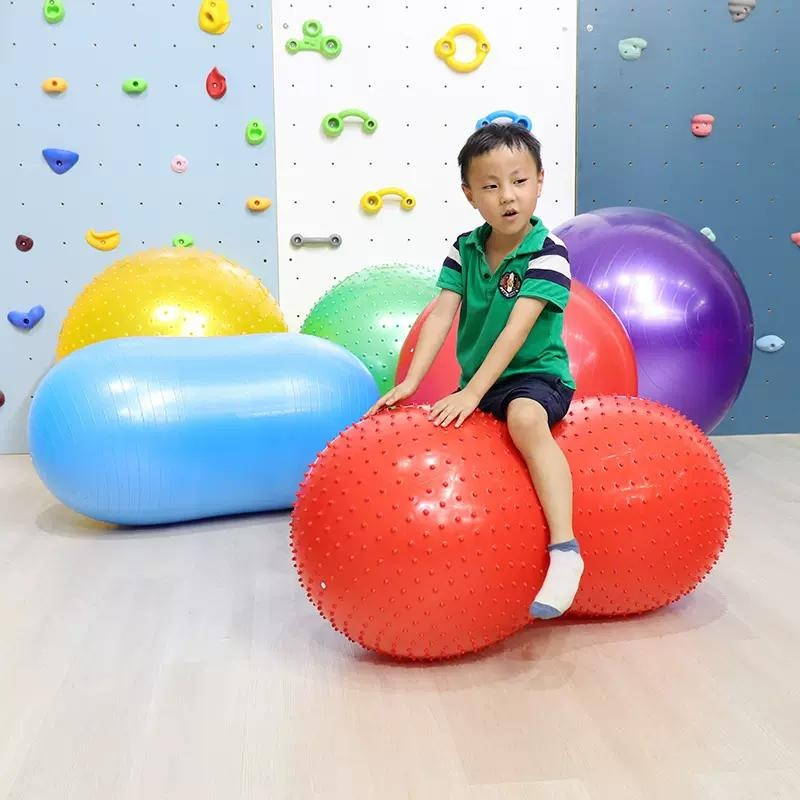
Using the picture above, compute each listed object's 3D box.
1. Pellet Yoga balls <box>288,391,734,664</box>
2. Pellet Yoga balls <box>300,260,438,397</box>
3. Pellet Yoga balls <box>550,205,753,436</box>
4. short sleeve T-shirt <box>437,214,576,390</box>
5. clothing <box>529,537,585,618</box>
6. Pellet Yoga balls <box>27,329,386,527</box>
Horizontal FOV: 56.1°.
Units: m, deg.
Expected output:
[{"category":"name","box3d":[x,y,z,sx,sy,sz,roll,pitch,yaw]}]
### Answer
[{"category":"Pellet Yoga balls","box3d":[0.197,0.193,1.506,0.680,0.501,0.507,-8,62,-16]},{"category":"Pellet Yoga balls","box3d":[-0.141,-0.239,2.988,0.337,0.421,0.543,10,64,-10]},{"category":"Pellet Yoga balls","box3d":[0.921,-0.244,2.719,0.634,0.994,0.658,12,-1,0]},{"category":"short sleeve T-shirt","box3d":[0.221,-0.196,1.596,0.230,0.386,0.170,5,17,29]},{"category":"clothing","box3d":[0.277,0.303,1.301,0.059,0.091,0.184,-9,16,37]},{"category":"Pellet Yoga balls","box3d":[-0.594,-0.069,2.391,0.886,0.650,0.543,-3,11,-13]}]
